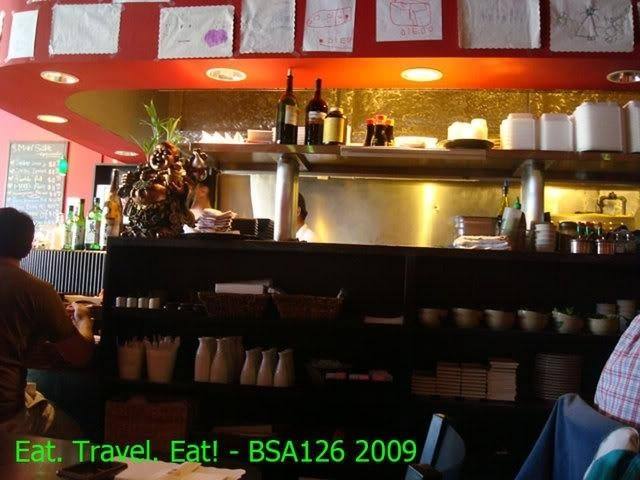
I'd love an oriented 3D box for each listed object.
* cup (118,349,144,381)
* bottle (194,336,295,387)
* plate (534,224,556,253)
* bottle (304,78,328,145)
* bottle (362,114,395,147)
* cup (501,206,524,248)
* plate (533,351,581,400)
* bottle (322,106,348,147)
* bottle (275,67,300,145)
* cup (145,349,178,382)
[{"bbox_3d":[-0.965,0.636,2.885,0.145,0.158,0.145,2,-9,0],"label":"cup"},{"bbox_3d":[-0.388,0.619,2.920,0.519,0.229,0.157,2,-2,3],"label":"bottle"},{"bbox_3d":[1.142,-0.006,2.857,0.133,0.152,0.126,2,-7,-4],"label":"plate"},{"bbox_3d":[-0.023,-0.746,3.343,0.128,0.403,0.241,2,-2,-2],"label":"bottle"},{"bbox_3d":[0.366,-0.663,3.454,0.166,0.218,0.232,2,-1,5],"label":"bottle"},{"bbox_3d":[0.983,-0.065,2.896,0.111,0.219,0.216,1,-2,19],"label":"cup"},{"bbox_3d":[1.189,0.677,2.897,0.230,0.248,0.223,1,-4,-3],"label":"plate"},{"bbox_3d":[0.104,-0.662,3.311,0.170,0.220,0.122,3,-2,-19],"label":"bottle"},{"bbox_3d":[-0.190,-0.777,3.297,0.136,0.449,0.205,2,-2,-4],"label":"bottle"},{"bbox_3d":[-0.811,0.637,2.871,0.157,0.164,0.155,1,-12,0],"label":"cup"}]
